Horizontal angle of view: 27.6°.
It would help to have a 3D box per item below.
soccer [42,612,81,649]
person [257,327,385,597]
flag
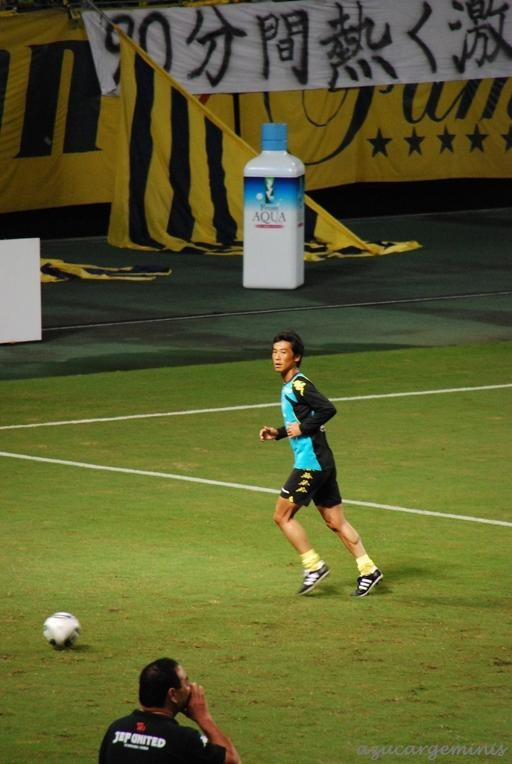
[{"bbox_3d":[-0.975,1.269,5.368,0.205,0.162,0.198,0,1,-3],"label":"soccer"},{"bbox_3d":[0.394,0.487,6.310,0.722,1.607,0.465,1,13,0],"label":"person"},{"bbox_3d":[-0.282,-5.231,21.234,7.972,4.929,0.499,9,17,43],"label":"flag"}]
